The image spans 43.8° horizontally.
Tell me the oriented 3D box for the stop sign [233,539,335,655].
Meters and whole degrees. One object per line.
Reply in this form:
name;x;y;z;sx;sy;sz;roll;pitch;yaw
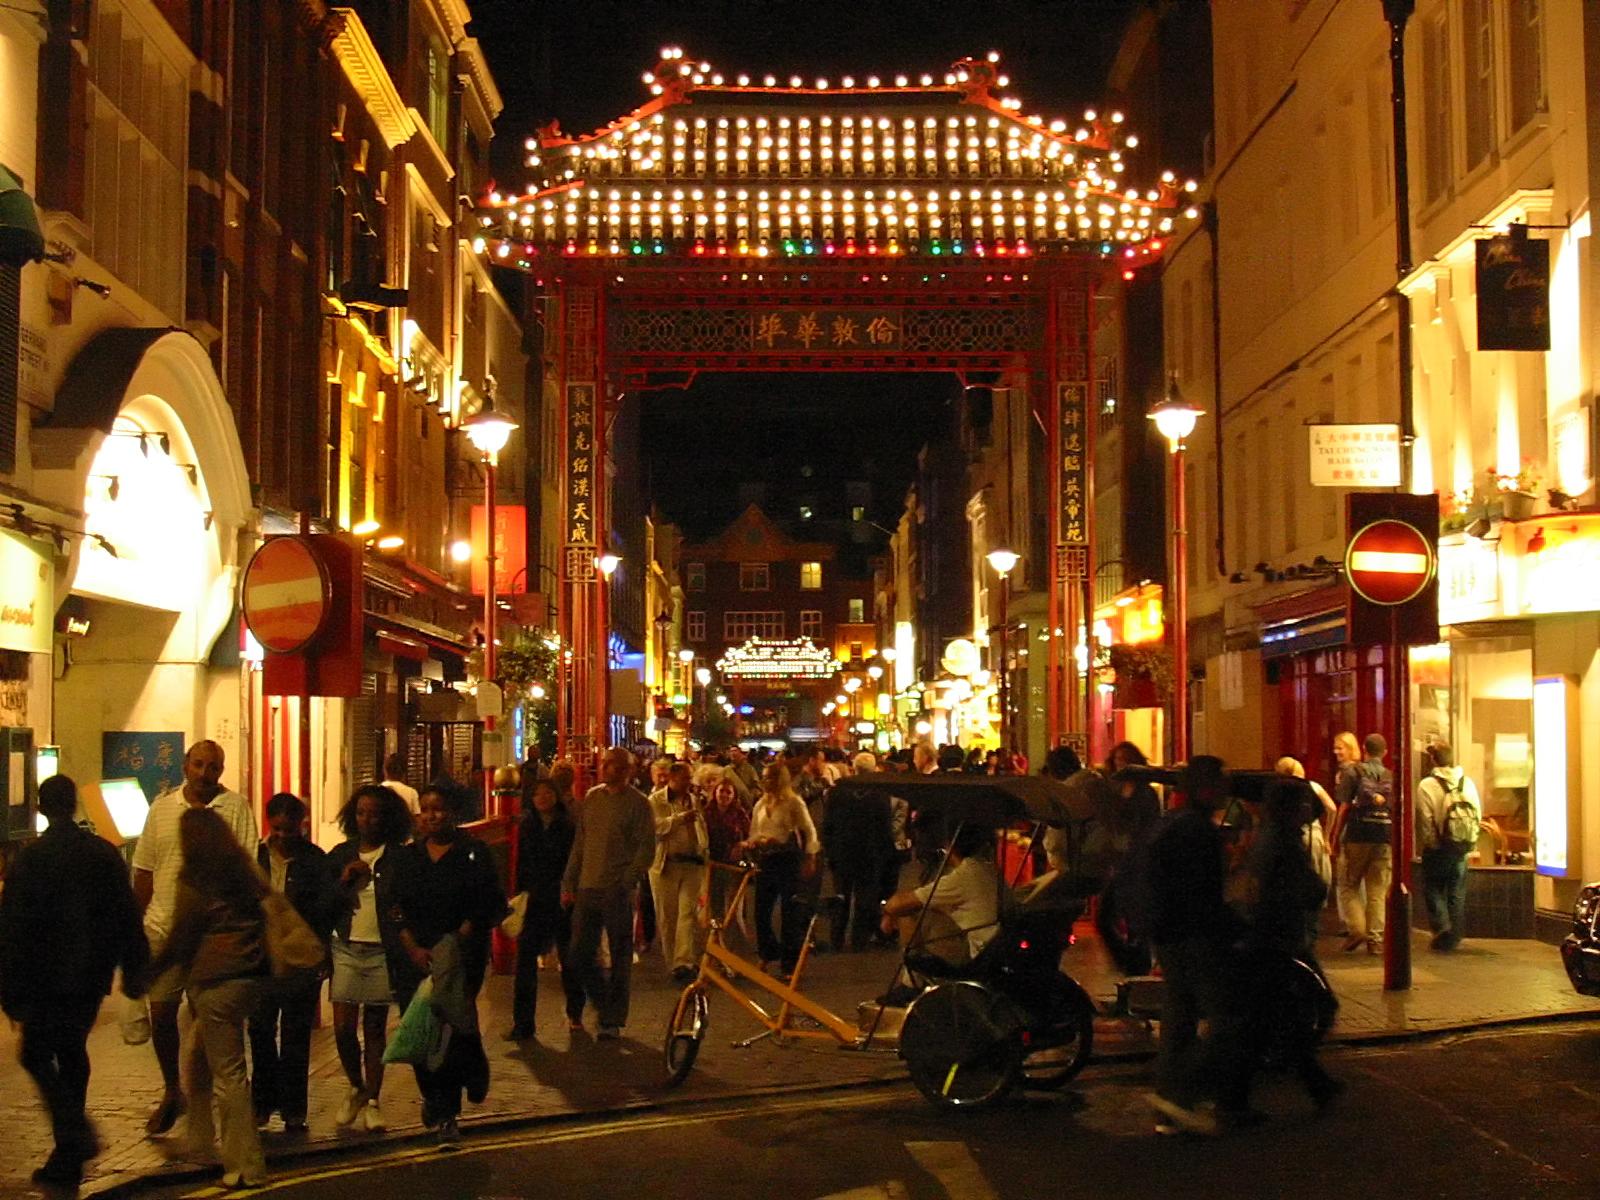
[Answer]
stop sign;-4.409;-0.072;17.074;0.794;1.012;0.235;-2;-8;11

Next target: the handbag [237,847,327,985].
handbag;-3.421;2.095;13.275;0.428;0.855;0.465;0;1;-10

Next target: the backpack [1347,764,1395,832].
backpack;6.337;2.137;21.870;0.510;0.836;0.437;9;-16;-12

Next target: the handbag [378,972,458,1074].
handbag;-2.638;2.910;13.771;0.456;0.616;0.244;0;-8;-7

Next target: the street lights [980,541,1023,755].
street lights;4.150;1.026;40.300;0.760;4.212;0.743;4;-11;-18
